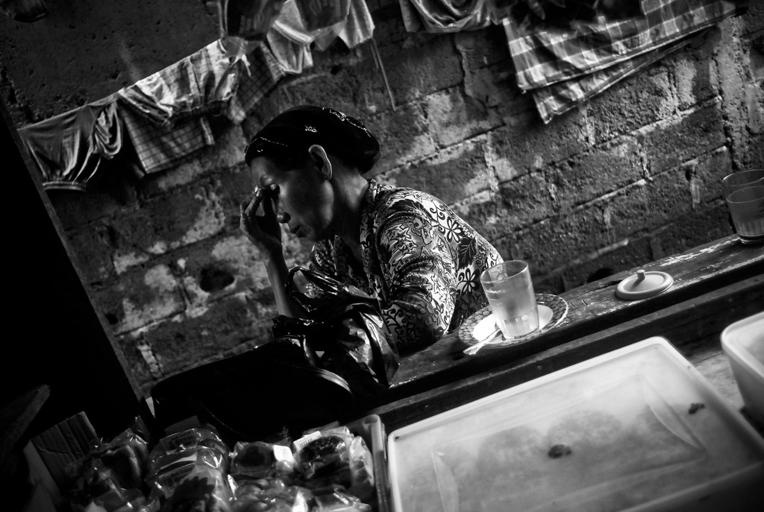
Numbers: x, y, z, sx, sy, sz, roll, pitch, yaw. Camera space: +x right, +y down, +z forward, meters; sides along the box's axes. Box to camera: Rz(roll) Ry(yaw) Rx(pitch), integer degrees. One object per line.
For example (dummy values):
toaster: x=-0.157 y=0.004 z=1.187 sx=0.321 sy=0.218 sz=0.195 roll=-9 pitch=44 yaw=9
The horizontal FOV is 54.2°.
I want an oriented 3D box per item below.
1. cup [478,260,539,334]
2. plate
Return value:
cup: x=0.410 y=0.132 z=2.325 sx=0.138 sy=0.129 sz=0.213 roll=-23 pitch=-71 yaw=-13
plate: x=0.398 y=0.222 z=2.327 sx=0.204 sy=0.048 sz=0.219 roll=-18 pitch=17 yaw=22
